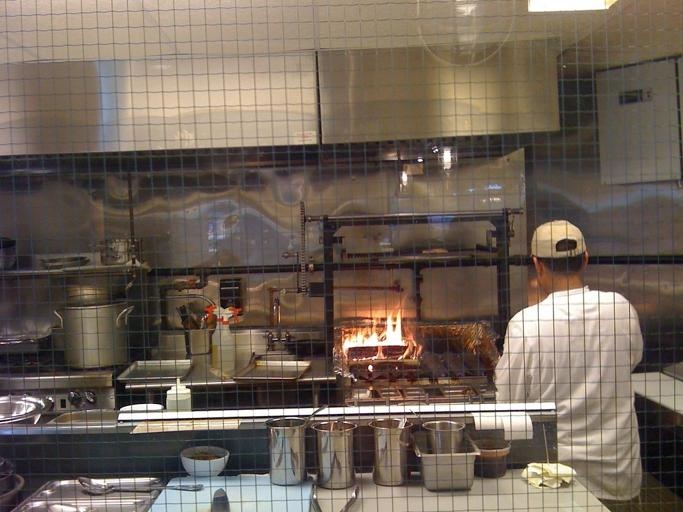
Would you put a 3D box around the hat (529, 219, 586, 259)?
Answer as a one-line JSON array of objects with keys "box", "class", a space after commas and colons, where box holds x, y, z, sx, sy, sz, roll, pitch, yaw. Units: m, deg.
[{"box": [0.906, -0.109, 4.509, 0.251, 0.145, 0.370, -5, 11, -4], "class": "hat"}]

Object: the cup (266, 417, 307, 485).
[{"box": [-0.206, 0.747, 3.997, 0.158, 0.225, 0.159, -1, -4, 0], "class": "cup"}]

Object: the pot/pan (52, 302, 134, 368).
[{"box": [-1.269, 0.412, 5.391, 0.460, 0.324, 0.301, -3, 1, 2], "class": "pot/pan"}]

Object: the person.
[{"box": [0.908, 0.409, 4.223, 0.611, 1.151, 0.749, -4, -3, 14], "class": "person"}]

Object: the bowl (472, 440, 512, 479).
[{"box": [0.567, 0.760, 3.945, 0.134, 0.113, 0.139, 0, -6, 0], "class": "bowl"}]

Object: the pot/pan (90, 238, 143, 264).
[{"box": [-1.238, -0.026, 5.807, 0.264, 0.146, 0.167, -3, -3, 0], "class": "pot/pan"}]

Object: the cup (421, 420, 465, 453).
[{"box": [0.390, 0.684, 4.008, 0.112, 0.089, 0.137, -1, -8, 1], "class": "cup"}]

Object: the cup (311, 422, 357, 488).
[{"box": [-0.021, 0.757, 4.062, 0.202, 0.261, 0.215, -1, 2, 0], "class": "cup"}]
